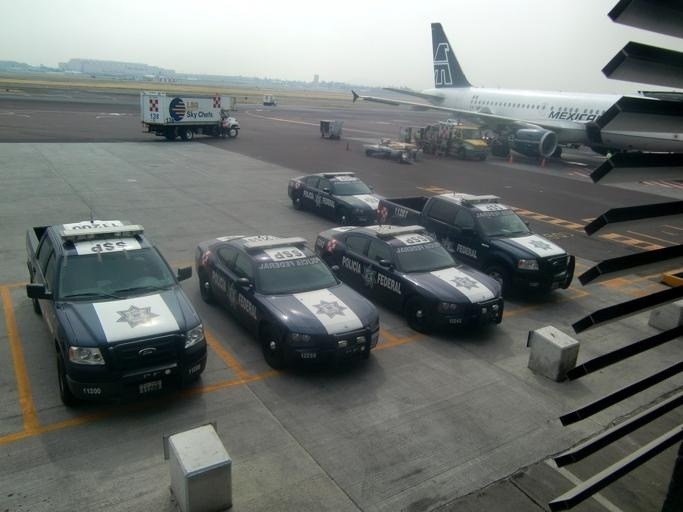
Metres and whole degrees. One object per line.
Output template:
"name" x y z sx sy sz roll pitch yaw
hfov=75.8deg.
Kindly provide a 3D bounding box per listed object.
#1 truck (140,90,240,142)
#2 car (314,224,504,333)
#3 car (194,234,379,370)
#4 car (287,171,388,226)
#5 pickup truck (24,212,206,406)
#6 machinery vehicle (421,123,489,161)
"truck" -14.239 -12.825 40.365 8.643 3.185 4.847 -13 26 -37
"car" 1.801 0.538 12.478 2.659 1.433 5.146 -13 26 -38
"car" -1.518 0.811 10.642 2.341 1.398 5.037 -10 26 -37
"car" -0.182 -2.616 19.751 1.388 1.902 4.748 -20 30 -40
"pickup truck" -5.048 0.686 9.342 2.586 1.720 5.454 -9 25 -37
"machinery vehicle" 10.447 -10.424 39.849 3.335 2.226 6.589 -13 23 -31
